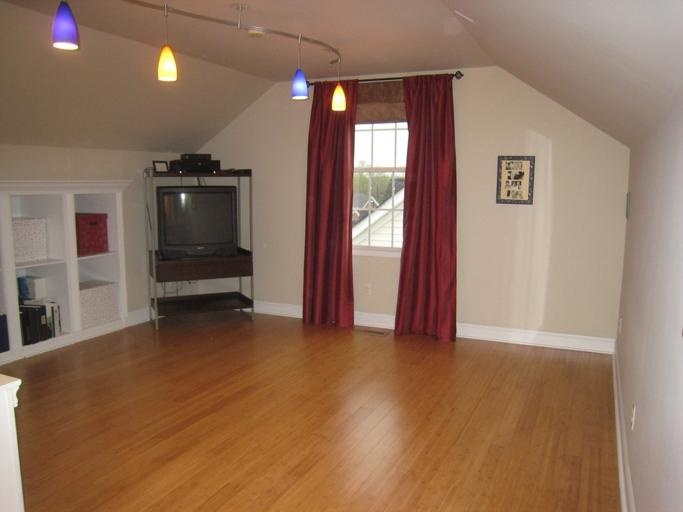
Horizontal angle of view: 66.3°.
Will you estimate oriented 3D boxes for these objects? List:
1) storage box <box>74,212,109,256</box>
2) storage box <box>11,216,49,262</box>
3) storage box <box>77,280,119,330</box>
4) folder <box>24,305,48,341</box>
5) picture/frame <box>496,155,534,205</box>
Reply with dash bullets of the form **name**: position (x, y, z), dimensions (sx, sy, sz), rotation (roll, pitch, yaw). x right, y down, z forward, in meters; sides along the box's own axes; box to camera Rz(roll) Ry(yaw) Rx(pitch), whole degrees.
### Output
- **storage box**: position (-2.483, -0.212, 5.176), dimensions (0.199, 0.413, 0.392), rotation (3, 5, 30)
- **storage box**: position (-2.838, -0.142, 4.771), dimensions (0.093, 0.362, 0.342), rotation (-1, 4, 23)
- **storage box**: position (-2.436, 0.474, 5.301), dimensions (0.389, 0.424, 0.407), rotation (3, 6, 36)
- **folder**: position (-2.784, 0.612, 4.742), dimensions (0.219, 0.348, 0.095), rotation (-10, 16, -39)
- **picture/frame**: position (1.688, -0.741, 5.039), dimensions (0.423, 0.610, 0.026), rotation (2, 2, 19)
